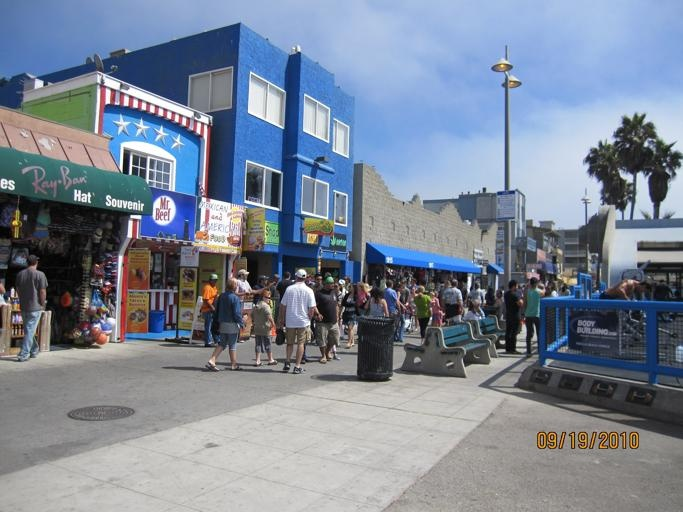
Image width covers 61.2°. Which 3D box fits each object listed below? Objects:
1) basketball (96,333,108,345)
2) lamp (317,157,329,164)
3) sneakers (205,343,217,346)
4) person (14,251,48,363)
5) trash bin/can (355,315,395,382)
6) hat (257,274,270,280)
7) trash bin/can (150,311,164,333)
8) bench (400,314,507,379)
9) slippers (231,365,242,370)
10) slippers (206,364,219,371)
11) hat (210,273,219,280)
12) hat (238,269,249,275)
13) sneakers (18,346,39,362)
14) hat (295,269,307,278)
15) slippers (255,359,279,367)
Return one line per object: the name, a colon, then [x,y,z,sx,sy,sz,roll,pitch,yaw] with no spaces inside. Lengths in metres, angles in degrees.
basketball: [-5.856,2.004,14.009,0.227,0.285,0.235,24,4,1]
lamp: [-0.830,-4.076,24.328,0.343,0.313,0.841,2,3,13]
sneakers: [-3.508,2.379,15.433,0.315,0.143,0.104,0,-8,5]
person: [-6.581,1.079,12.210,0.530,2.182,0.564,-1,4,-30]
trash bin/can: [0.668,1.837,11.553,0.788,1.235,0.861,0,-3,12]
hat: [-2.662,0.703,19.620,0.265,0.179,0.432,-1,2,37]
trash bin/can: [-5.691,1.998,17.679,0.503,0.582,0.547,0,-7,12]
bench: [2.554,1.927,12.885,1.017,0.773,1.952,3,3,33]
slippers: [-2.196,2.310,12.001,0.199,0.089,0.105,-1,3,9]
slippers: [-2.631,2.298,11.780,0.105,0.116,0.285,-44,-49,18]
hat: [-3.659,0.571,16.405,0.150,0.108,0.200,3,-11,-45]
hat: [-2.662,0.414,15.219,0.273,0.122,0.203,-2,-3,31]
sneakers: [-6.631,2.058,12.171,0.163,0.259,0.536,1,-18,-13]
hat: [-0.904,0.391,12.639,0.185,0.158,0.259,0,3,-20]
slippers: [-1.680,2.341,12.757,0.447,0.199,0.161,-3,-4,-8]
